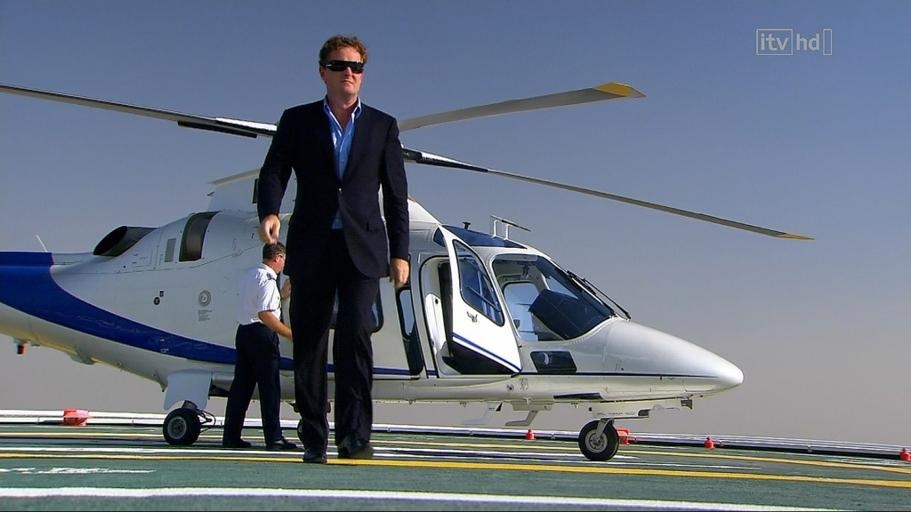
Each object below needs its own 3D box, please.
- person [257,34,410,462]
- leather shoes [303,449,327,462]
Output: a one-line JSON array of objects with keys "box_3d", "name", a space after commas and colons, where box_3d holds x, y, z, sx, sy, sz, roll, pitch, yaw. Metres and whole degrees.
[{"box_3d": [-0.937, -0.069, 6.597, 1.098, 3.251, 1.104, -4, -20, 10], "name": "person"}, {"box_3d": [-1.068, 1.528, 6.474, 0.179, 0.103, 0.102, 1, -17, -5], "name": "leather shoes"}]
